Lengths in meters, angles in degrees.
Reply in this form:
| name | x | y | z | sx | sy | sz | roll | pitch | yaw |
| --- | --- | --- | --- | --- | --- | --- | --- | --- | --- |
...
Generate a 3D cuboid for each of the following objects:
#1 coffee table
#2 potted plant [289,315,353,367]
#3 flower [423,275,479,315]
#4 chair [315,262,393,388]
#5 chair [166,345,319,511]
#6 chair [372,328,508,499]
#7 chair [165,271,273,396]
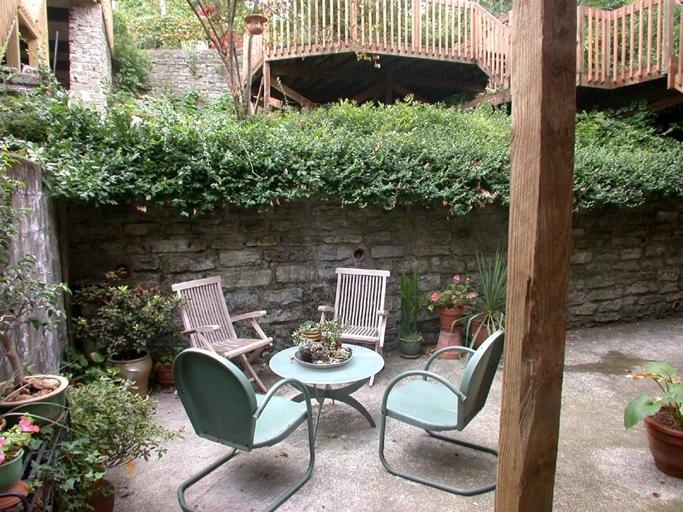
| name | x | y | z | sx | sy | sz | roll | pitch | yaw |
| --- | --- | --- | --- | --- | --- | --- | --- | --- | --- |
| coffee table | -0.099 | 1.064 | 5.036 | 0.923 | 0.489 | 0.855 | 1 | 8 | 8 |
| potted plant | -0.227 | 0.837 | 5.026 | 0.449 | 0.299 | 0.457 | 7 | 8 | 44 |
| flower | 1.402 | 0.500 | 6.670 | 0.530 | 0.367 | 0.563 | 5 | 12 | 40 |
| chair | 0.160 | 0.796 | 6.158 | 0.960 | 1.046 | 0.914 | -2 | 16 | -19 |
| chair | -0.812 | 1.482 | 4.330 | 0.904 | 1.418 | 1.050 | 11 | 18 | 29 |
| chair | 0.872 | 1.241 | 4.485 | 0.997 | 1.140 | 1.090 | -5 | 6 | -37 |
| chair | -1.273 | 0.909 | 5.616 | 0.924 | 1.173 | 0.964 | -5 | 11 | -37 |
